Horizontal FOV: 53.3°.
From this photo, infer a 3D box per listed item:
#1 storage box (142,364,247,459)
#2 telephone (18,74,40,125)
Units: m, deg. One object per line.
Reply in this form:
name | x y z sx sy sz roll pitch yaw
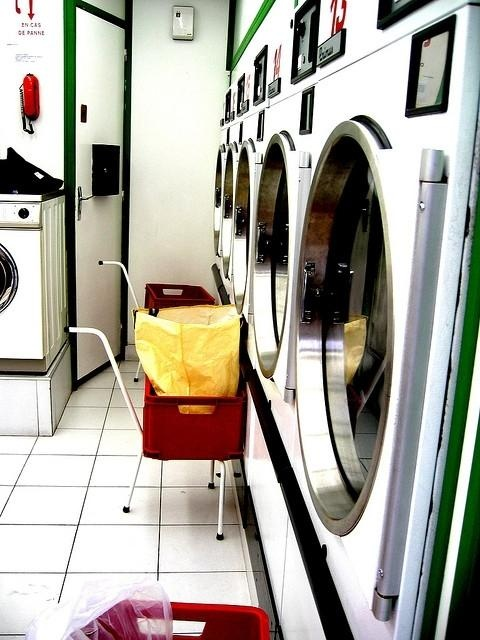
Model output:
storage box | -0.215 0.376 2.271 0.303 0.304 0.384 2 7 -4
telephone | -1.533 -1.595 3.485 0.124 0.393 0.085 -1 9 -17
